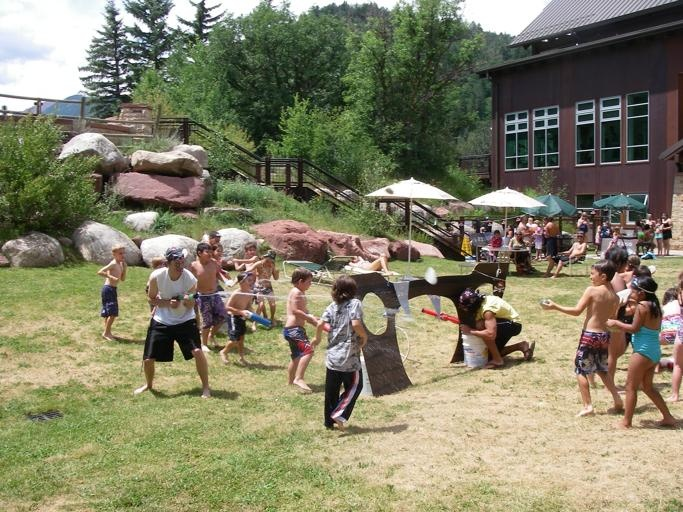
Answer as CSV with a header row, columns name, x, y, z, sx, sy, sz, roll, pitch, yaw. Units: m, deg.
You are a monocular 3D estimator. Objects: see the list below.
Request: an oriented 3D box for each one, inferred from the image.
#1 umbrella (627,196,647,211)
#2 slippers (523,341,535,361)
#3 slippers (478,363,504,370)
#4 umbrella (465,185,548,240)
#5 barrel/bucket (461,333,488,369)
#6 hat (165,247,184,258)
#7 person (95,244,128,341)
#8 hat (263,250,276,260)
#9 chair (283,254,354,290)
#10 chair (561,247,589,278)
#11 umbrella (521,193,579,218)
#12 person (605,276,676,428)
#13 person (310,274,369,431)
name,x,y,z,sx,sy,sz,roll,pitch,yaw
umbrella,11.879,-2.065,29.195,0.731,0.671,3.137,5,7,23
slippers,3.318,1.685,12.849,0.166,0.346,0.165,2,16,12
slippers,2.592,1.917,12.529,0.360,0.081,0.134,0,-3,-16
umbrella,5.070,-1.711,22.390,2.123,1.319,2.053,1,7,0
barrel/bucket,2.333,1.672,12.733,0.542,0.494,0.537,-2,1,0
hat,-2.538,-0.035,11.096,0.257,0.163,0.300,0,7,-14
person,-4.312,0.633,13.690,0.457,1.691,1.118,0,7,-17
hat,-1.576,-0.012,15.899,0.141,0.180,0.173,18,-30,-17
chair,-0.607,0.393,17.735,1.477,0.472,0.761,6,7,40
chair,6.765,0.155,20.894,0.856,0.932,0.739,7,0,-8
umbrella,7.369,-1.731,25.846,1.224,0.484,1.204,-2,6,-35
person,4.251,1.342,10.175,0.937,2.086,0.768,4,7,20
person,0.028,1.408,10.383,0.616,2.221,0.454,2,7,-2
